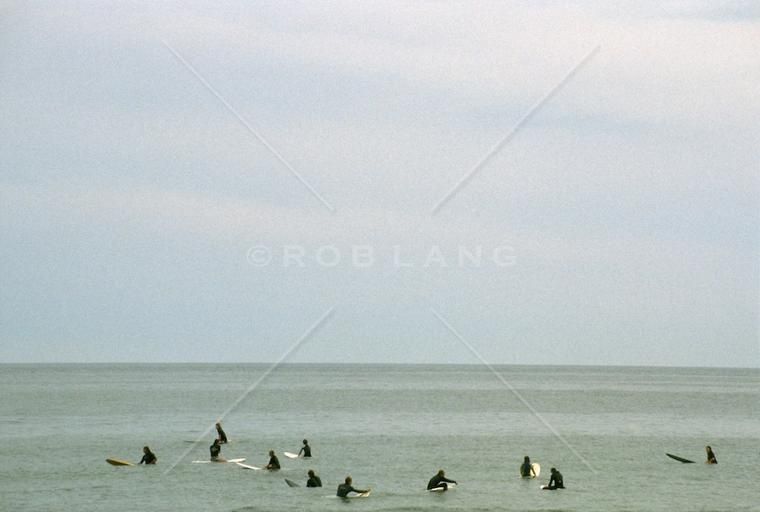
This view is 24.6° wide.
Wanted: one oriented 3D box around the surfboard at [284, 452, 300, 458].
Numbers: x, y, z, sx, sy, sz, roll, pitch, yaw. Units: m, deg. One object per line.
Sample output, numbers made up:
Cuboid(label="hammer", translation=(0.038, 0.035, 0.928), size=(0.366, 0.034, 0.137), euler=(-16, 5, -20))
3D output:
Cuboid(label="surfboard", translation=(-4.366, 9.783, 85.122), size=(0.945, 0.248, 0.126), euler=(2, -74, 15))

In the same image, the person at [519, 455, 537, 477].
Cuboid(label="person", translation=(6.918, 10.130, 83.424), size=(0.848, 1.099, 0.793), euler=(-12, -42, 14))

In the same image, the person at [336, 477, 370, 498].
Cuboid(label="person", translation=(-1.379, 10.848, 81.153), size=(1.301, 0.913, 1.115), euler=(6, -40, -8))

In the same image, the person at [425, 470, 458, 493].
Cuboid(label="person", translation=(2.760, 10.542, 81.918), size=(1.321, 1.136, 0.899), euler=(1, 10, -23))

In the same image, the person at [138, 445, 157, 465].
Cuboid(label="person", translation=(-10.953, 9.484, 82.997), size=(0.783, 0.852, 1.033), euler=(8, -41, -9))

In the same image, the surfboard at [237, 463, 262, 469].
Cuboid(label="surfboard", translation=(-6.340, 10.206, 83.995), size=(1.219, 0.067, 0.363), euler=(9, 9, 40))

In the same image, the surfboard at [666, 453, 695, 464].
Cuboid(label="surfboard", translation=(14.573, 10.012, 85.691), size=(1.574, 0.217, 0.109), euler=(12, -12, 19))

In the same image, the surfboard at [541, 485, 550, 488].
Cuboid(label="surfboard", translation=(7.680, 10.900, 82.070), size=(0.180, 0.120, 0.303), euler=(-6, -6, 35))
